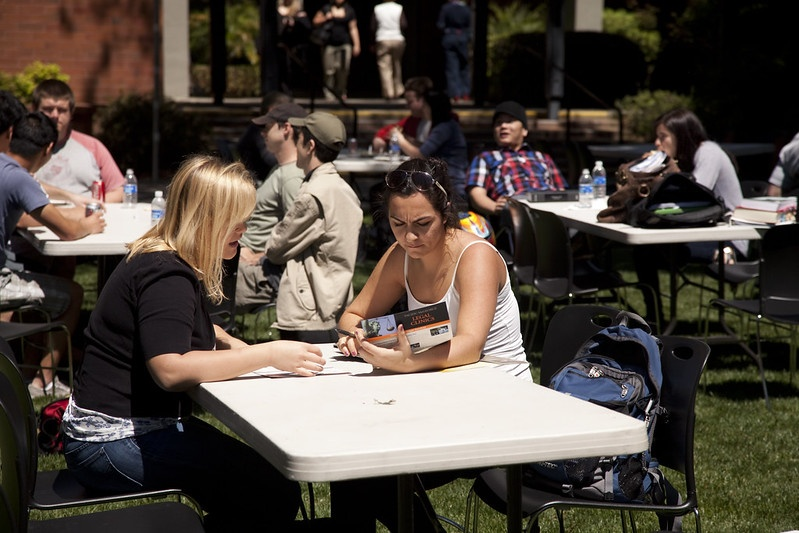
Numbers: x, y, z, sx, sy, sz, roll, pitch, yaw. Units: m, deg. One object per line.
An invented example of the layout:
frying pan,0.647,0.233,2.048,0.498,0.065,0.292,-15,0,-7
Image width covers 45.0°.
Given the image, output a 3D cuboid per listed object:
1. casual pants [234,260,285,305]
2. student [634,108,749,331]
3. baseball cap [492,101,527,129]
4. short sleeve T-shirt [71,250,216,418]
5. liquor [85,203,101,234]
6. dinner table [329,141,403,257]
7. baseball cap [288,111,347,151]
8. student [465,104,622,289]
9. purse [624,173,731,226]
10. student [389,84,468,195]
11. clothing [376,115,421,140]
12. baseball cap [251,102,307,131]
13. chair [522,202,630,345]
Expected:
casual pants,-1.130,0.130,7.741,0.343,0.165,0.351,3,1,6
student,2.569,-0.473,8.451,0.767,1.667,0.643,3,-10,-20
baseball cap,1.076,-1.473,9.351,0.297,0.259,0.293,1,8,4
short sleeve T-shirt,-1.323,0.258,5.143,0.704,0.893,0.826,-2,6,-29
liquor,-2.280,-0.349,7.185,0.104,0.116,0.195,3,40,-19
dinner table,-0.290,-0.603,8.423,0.696,0.725,1.371,-8,24,-18
baseball cap,-0.614,-1.075,7.349,0.389,0.224,0.266,26,19,9
student,1.237,-0.830,8.967,0.950,1.963,1.534,1,-14,-13
purse,2.158,-0.514,7.497,0.725,0.424,0.200,-1,8,-10
student,0.380,-1.326,11.041,0.752,1.581,0.633,-3,29,1
clothing,0.022,-1.773,12.224,0.421,0.169,0.348,-12,20,-9
baseball cap,-0.986,-1.243,7.914,0.344,0.153,0.234,-5,5,4
chair,1.437,-0.074,7.803,0.677,1.042,0.708,-21,-6,-13
